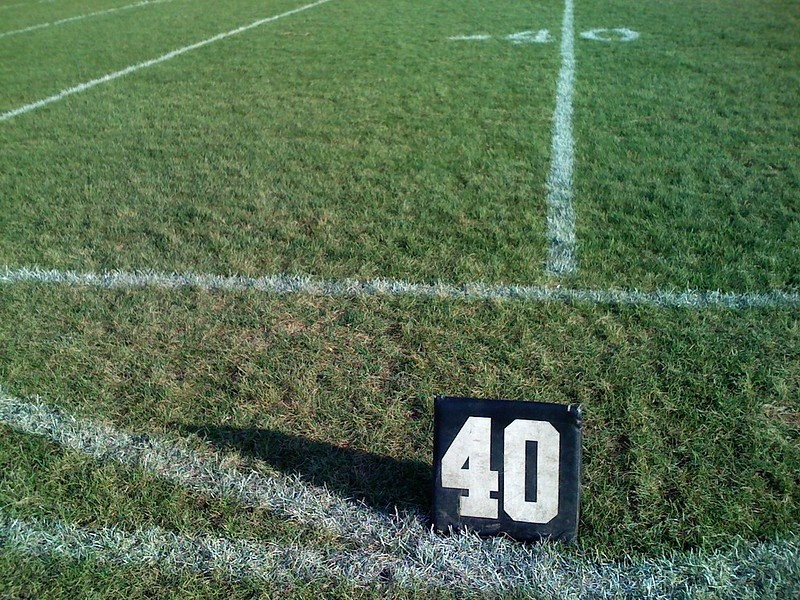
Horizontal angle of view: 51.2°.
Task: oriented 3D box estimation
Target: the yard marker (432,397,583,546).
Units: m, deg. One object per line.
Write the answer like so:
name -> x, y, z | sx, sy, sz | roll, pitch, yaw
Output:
yard marker -> 0.526, 0.830, 4.105 | 0.728, 0.479, 0.526 | -4, 56, 14
